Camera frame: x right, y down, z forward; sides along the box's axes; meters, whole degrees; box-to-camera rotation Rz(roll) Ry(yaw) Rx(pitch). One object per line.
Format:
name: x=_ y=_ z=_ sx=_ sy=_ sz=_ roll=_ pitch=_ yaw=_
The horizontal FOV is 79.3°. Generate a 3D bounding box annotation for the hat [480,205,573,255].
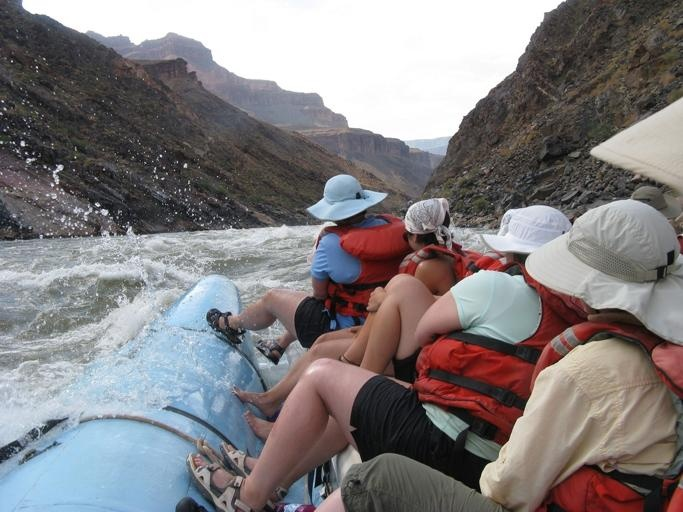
hat: x=0.986 y=-0.151 z=2.211 sx=0.404 sy=0.155 sz=0.298 roll=-25 pitch=25 yaw=-23
